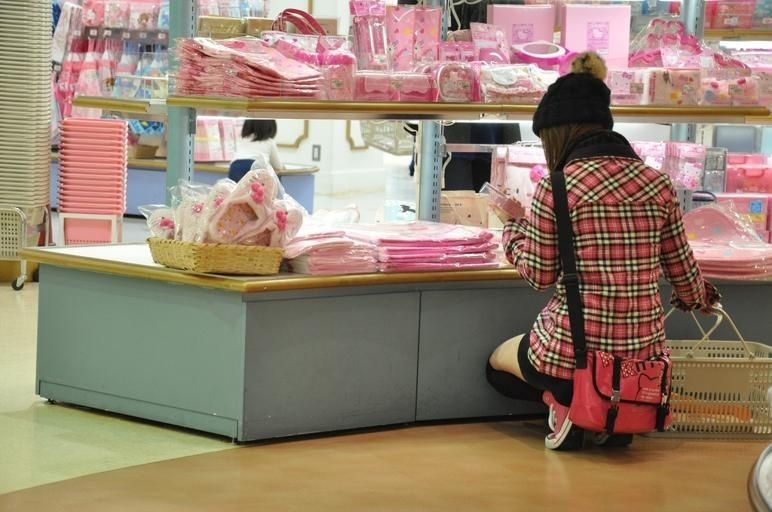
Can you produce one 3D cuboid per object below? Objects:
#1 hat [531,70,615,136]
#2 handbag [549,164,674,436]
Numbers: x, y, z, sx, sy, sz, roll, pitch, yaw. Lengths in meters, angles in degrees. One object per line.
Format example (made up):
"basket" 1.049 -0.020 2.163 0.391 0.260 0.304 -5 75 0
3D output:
"hat" 0.856 -0.678 3.032 0.289 0.185 0.285 -3 0 32
"handbag" 1.001 0.215 2.926 0.609 1.142 0.229 1 11 -9
